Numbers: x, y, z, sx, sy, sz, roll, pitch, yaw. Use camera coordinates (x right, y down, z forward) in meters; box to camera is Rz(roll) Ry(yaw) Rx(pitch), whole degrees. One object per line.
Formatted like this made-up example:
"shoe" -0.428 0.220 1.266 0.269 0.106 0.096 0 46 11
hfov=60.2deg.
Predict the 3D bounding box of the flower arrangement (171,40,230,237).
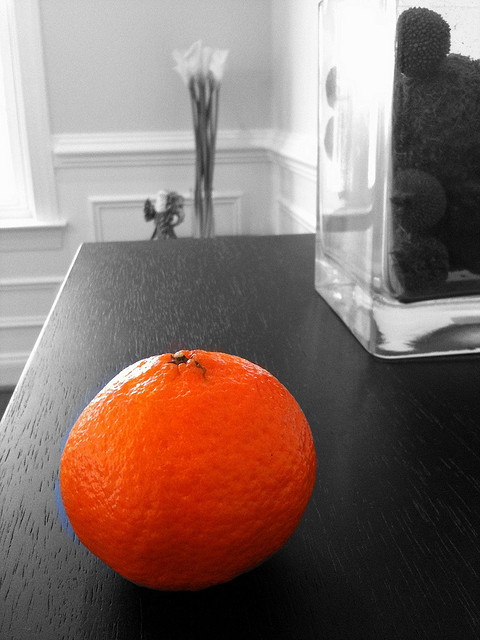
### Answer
"flower arrangement" -0.123 -0.658 1.417 0.204 0.736 0.469 -1 8 -8
